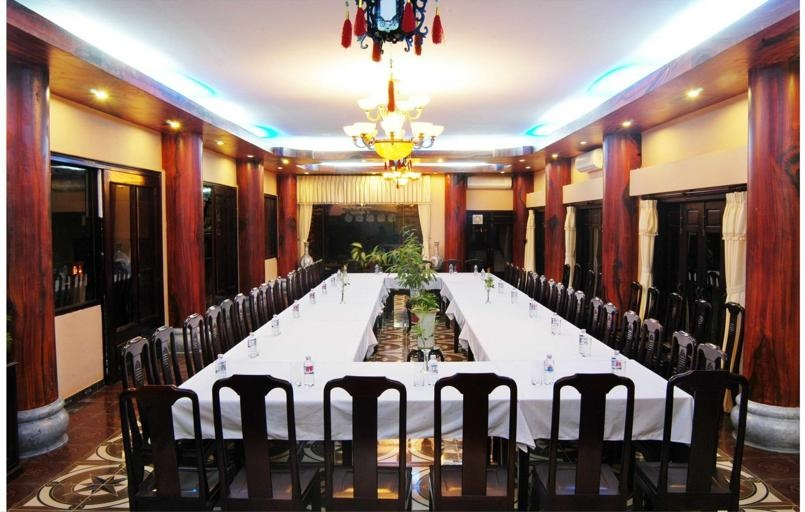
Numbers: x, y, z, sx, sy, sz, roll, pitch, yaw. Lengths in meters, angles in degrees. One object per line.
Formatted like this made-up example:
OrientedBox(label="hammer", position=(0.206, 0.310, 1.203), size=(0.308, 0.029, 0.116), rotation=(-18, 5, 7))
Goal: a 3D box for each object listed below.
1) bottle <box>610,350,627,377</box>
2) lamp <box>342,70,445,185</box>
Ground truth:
OrientedBox(label="bottle", position=(2.119, 1.071, 5.300), size=(0.178, 0.313, 0.181), rotation=(0, -3, 0))
OrientedBox(label="lamp", position=(-0.089, -1.832, 7.311), size=(1.255, 1.620, 1.182), rotation=(-4, 6, -15))
